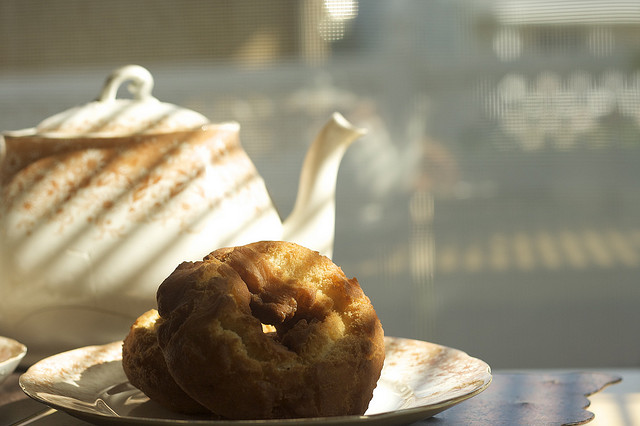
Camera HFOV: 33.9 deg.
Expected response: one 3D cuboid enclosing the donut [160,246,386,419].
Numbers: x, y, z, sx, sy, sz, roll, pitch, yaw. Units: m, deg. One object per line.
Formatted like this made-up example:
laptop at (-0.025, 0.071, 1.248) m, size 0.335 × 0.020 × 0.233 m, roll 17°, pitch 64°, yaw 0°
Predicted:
donut at (-0.066, 0.162, 1.418) m, size 0.258 × 0.104 × 0.234 m, roll 12°, pitch 37°, yaw 6°
